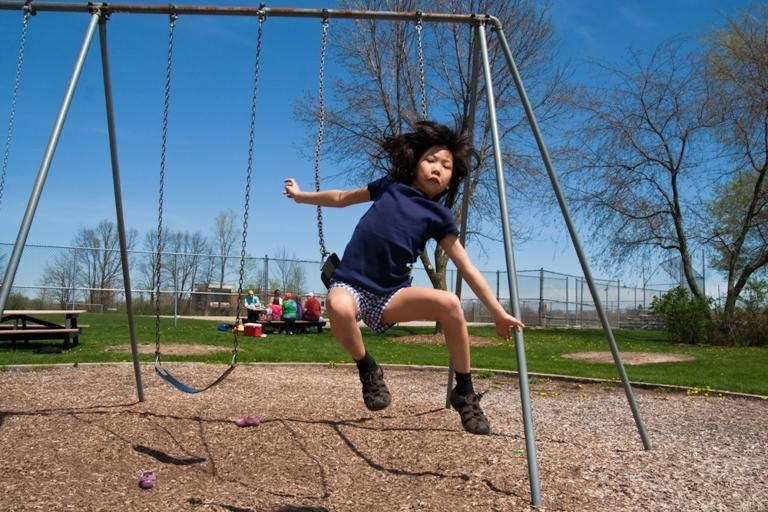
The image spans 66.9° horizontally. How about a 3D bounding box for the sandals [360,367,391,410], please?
[{"bbox_3d":[-0.048,1.145,4.979,0.226,0.372,0.230,2,0,-45],"label":"sandals"}]
